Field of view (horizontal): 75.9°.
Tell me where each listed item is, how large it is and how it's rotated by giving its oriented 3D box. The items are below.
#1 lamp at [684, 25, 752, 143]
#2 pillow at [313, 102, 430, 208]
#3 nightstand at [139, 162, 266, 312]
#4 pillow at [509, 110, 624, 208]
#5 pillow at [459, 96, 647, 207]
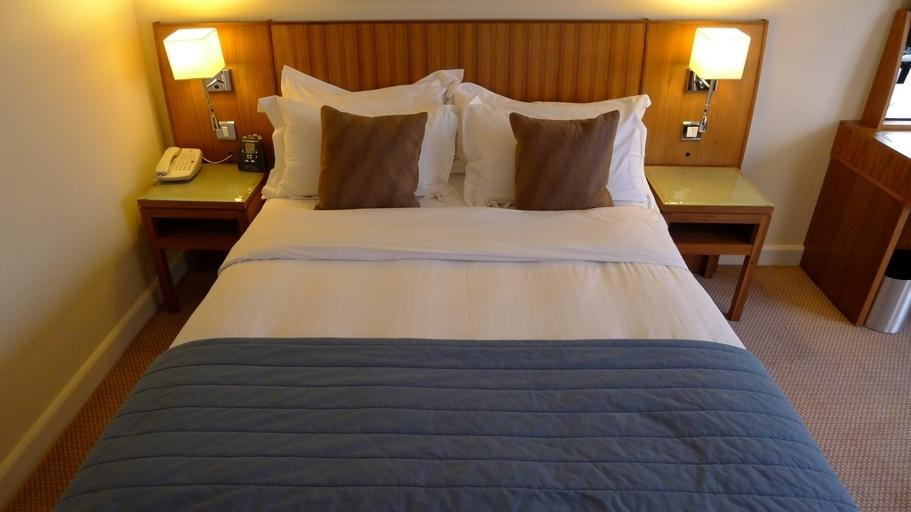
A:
[{"bbox_3d":[1.754,-1.178,4.093,0.334,0.701,0.296,-12,43,-31],"label":"lamp"},{"bbox_3d":[-0.543,-0.614,3.740,0.752,0.633,0.244,0,8,-3],"label":"pillow"},{"bbox_3d":[-1.845,-0.214,4.416,0.723,0.893,0.756,-3,36,-10],"label":"nightstand"},{"bbox_3d":[0.688,-0.595,3.708,0.667,0.559,0.238,-2,16,-3],"label":"pillow"},{"bbox_3d":[0.871,-0.672,4.124,0.232,0.853,0.895,-25,39,-27],"label":"pillow"}]
